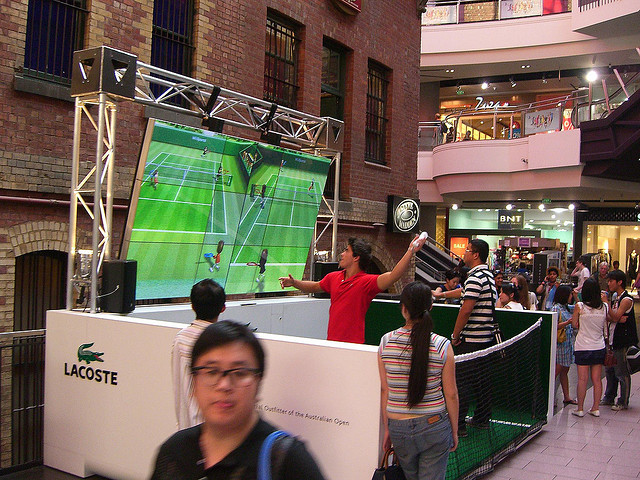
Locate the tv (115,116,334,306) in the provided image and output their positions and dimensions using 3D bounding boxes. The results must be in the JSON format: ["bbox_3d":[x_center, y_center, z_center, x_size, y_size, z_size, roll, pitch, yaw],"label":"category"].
[{"bbox_3d":[-1.297,-0.508,8.187,0.064,2.539,3.990,21,14,36],"label":"tv"}]

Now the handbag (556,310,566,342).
[{"bbox_3d":[3.926,1.417,7.908,0.095,0.482,0.265,-2,-4,33],"label":"handbag"}]

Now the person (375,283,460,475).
[{"bbox_3d":[0.740,1.069,3.776,0.638,1.461,0.382,-1,-3,15],"label":"person"}]

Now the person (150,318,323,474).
[{"bbox_3d":[-0.339,0.582,1.792,0.505,0.558,0.702,2,-4,-20],"label":"person"}]

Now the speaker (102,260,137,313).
[{"bbox_3d":[-2.425,0.562,5.886,0.374,0.634,0.256,2,-4,-26],"label":"speaker"}]

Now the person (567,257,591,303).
[{"bbox_3d":[7.359,1.092,13.807,0.390,1.355,0.465,6,-28,26],"label":"person"}]

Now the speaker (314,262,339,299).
[{"bbox_3d":[0.128,0.796,9.524,0.459,0.708,0.374,0,-3,-1],"label":"speaker"}]

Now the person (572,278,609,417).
[{"bbox_3d":[4.177,1.670,7.527,0.519,2.124,0.323,-1,-3,22],"label":"person"}]
